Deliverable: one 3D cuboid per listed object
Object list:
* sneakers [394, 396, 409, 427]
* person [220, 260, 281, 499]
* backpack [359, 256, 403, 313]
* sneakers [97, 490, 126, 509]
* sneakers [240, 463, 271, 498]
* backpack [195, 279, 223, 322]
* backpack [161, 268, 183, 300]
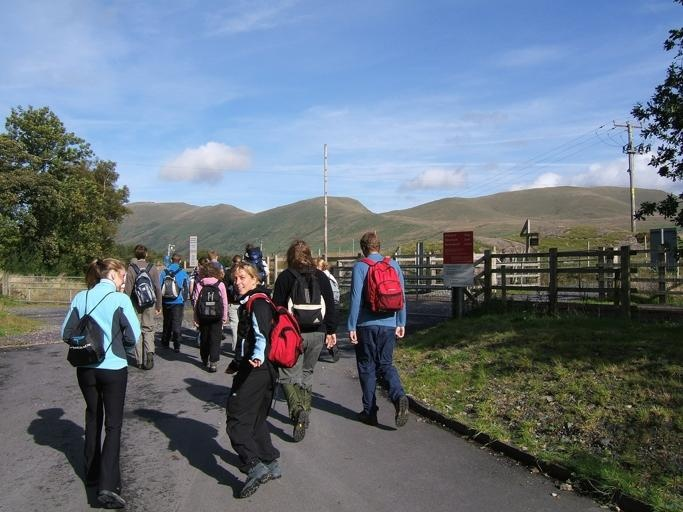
[{"bbox_3d":[0.821,2.072,6.725,0.157,0.409,0.185,4,-8,-4],"label":"sneakers"},{"bbox_3d":[-0.958,1.450,5.342,0.551,2.043,0.743,1,5,10],"label":"person"},{"bbox_3d":[0.590,0.435,7.097,0.595,0.764,0.428,0,5,5],"label":"backpack"},{"bbox_3d":[-2.229,2.384,4.941,0.154,0.122,0.285,-28,-52,18],"label":"sneakers"},{"bbox_3d":[-0.879,2.322,5.175,0.154,0.121,0.321,20,56,42],"label":"sneakers"},{"bbox_3d":[-2.558,0.900,9.739,0.512,0.804,0.258,-2,5,-17],"label":"backpack"},{"bbox_3d":[-3.806,0.680,11.174,0.406,0.615,0.618,1,-5,-4],"label":"backpack"}]
